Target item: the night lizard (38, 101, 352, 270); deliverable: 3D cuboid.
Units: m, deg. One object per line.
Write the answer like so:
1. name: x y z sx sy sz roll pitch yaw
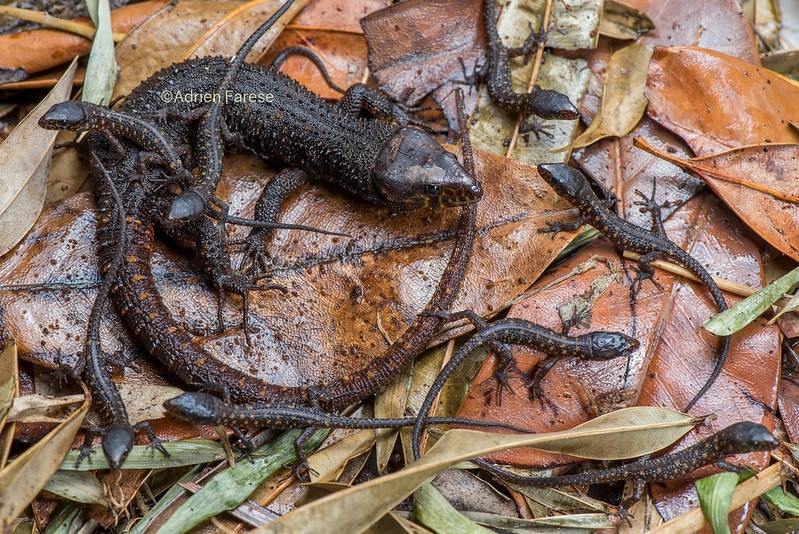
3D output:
1. night lizard: -1.722 -0.848 6.567 1.669 0.390 1.157 2 69 -25

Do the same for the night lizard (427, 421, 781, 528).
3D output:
1. night lizard: 1.411 1.400 6.202 2.239 0.318 0.863 -11 38 14

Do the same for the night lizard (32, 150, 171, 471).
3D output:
1. night lizard: -2.089 0.498 6.134 0.601 0.413 1.851 -10 77 -9
